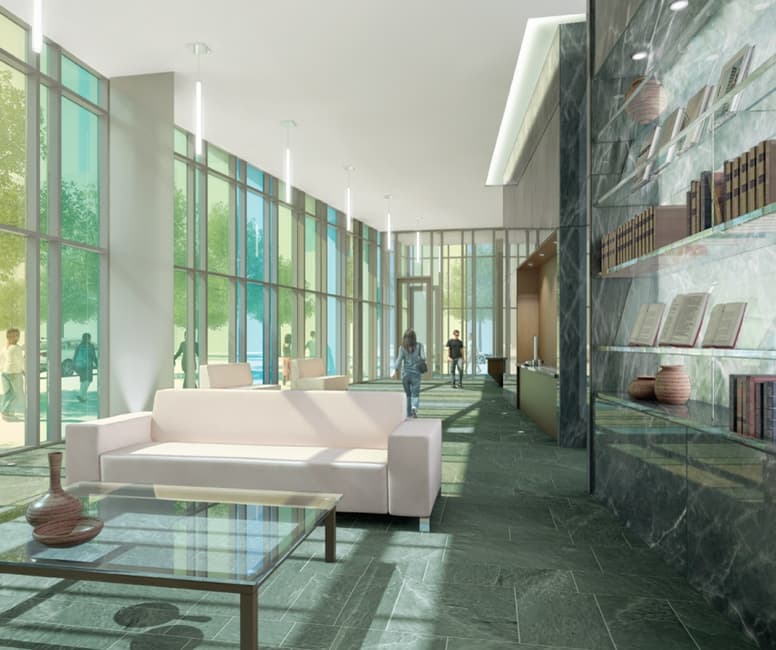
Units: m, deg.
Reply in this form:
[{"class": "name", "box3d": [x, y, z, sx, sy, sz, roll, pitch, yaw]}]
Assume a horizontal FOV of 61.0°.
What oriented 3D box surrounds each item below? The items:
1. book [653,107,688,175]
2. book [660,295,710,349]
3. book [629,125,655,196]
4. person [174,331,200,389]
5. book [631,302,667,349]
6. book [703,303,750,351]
[{"class": "book", "box3d": [2.111, -1.404, 4.914, 0.098, 0.439, 0.436, 8, -4, -4]}, {"class": "book", "box3d": [2.135, -0.042, 4.706, 0.086, 0.393, 0.356, 19, -13, -10]}, {"class": "book", "box3d": [2.064, -1.315, 5.270, 0.102, 0.576, 0.378, 5, -35, 8]}, {"class": "person", "box3d": [-3.018, 0.539, 9.919, 0.328, 0.855, 0.596, -2, 6, -16]}, {"class": "book", "box3d": [2.052, -0.001, 5.170, 0.070, 0.337, 0.305, 17, -12, -6]}, {"class": "book", "box3d": [2.196, 0.009, 4.262, 0.070, 0.334, 0.304, 19, -11, -11]}]
